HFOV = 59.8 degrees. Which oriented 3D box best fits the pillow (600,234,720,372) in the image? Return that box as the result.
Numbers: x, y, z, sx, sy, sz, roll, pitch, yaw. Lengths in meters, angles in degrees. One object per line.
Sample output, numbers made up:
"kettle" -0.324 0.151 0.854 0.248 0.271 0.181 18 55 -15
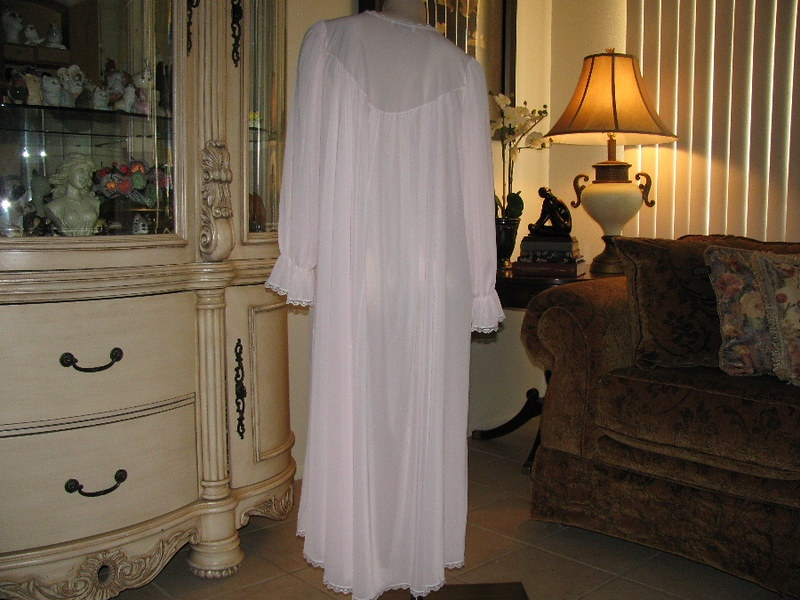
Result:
"pillow" 1.008 0.011 2.581 0.370 0.402 0.117 -1 -7 -10
